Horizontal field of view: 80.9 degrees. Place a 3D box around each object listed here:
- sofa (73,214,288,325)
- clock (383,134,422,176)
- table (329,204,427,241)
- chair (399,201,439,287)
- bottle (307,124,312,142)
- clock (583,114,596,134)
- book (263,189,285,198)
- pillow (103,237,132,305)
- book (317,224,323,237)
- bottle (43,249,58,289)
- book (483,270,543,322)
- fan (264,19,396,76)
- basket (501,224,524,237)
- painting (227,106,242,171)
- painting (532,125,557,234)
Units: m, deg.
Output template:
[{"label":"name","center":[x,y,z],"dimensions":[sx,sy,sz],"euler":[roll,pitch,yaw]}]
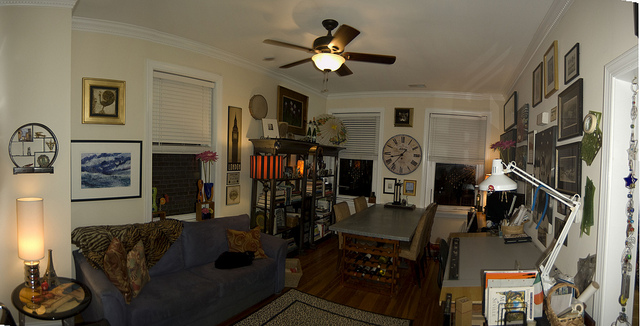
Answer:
[{"label":"sofa","center":[-1.965,1.675,5.797],"dimensions":[2.918,1.473,0.815],"euler":[-1,-1,-32]},{"label":"clock","center":[1.943,-0.193,8.682],"dimensions":[1.047,0.937,0.072],"euler":[2,6,24]},{"label":"table","center":[1.445,1.039,7.622],"dimensions":[1.379,0.055,3.120],"euler":[4,6,23]},{"label":"chair","center":[1.919,1.486,7.230],"dimensions":[0.644,1.030,1.621],"euler":[-2,-1,17]},{"label":"bottle","center":[-0.223,-0.642,8.126],"dimensions":[0.096,0.334,0.254],"euler":[-1,-1,-2]},{"label":"clock","center":[3.339,-0.485,4.661],"dimensions":[0.036,0.235,0.148],"euler":[-1,-1,-17]},{"label":"book","center":[-0.895,0.590,7.283],"dimensions":[0.413,0.148,0.244],"euler":[-1,-1,-7]},{"label":"pillow","center":[-2.798,1.514,5.259],"dimensions":[0.389,0.861,0.288],"euler":[-2,-1,37]},{"label":"book","center":[0.008,1.512,8.522],"dimensions":[0.124,0.280,0.029],"euler":[-1,-1,-43]},{"label":"bottle","center":[-3.724,1.445,5.176],"dimensions":[0.152,0.503,0.268],"euler":[-1,-1,-44]},{"label":"book","center":[2.178,1.514,4.303],"dimensions":[0.656,0.489,0.331],"euler":[1,-4,-4]},{"label":"fan","center":[0.264,-1.635,5.545],"dimensions":[1.179,0.431,1.155],"euler":[10,-13,-29]},{"label":"basket","center":[3.125,1.070,6.058],"dimensions":[0.384,0.153,0.133],"euler":[-1,-1,-4]},{"label":"painting","center":[-1.595,-0.433,7.084],"dimensions":[0.404,1.224,0.024],"euler":[9,10,39]},{"label":"painting","center":[3.357,0.232,5.647],"dimensions":[0.209,1.425,0.684],"euler":[-2,-1,15]}]
